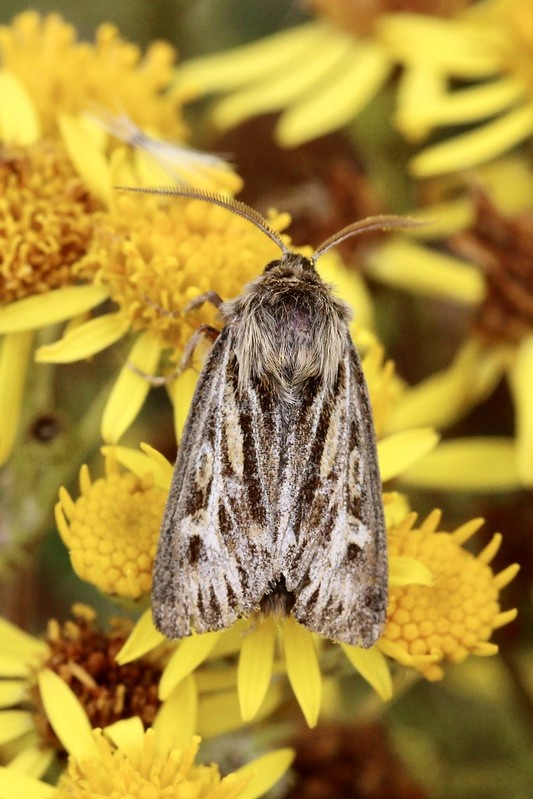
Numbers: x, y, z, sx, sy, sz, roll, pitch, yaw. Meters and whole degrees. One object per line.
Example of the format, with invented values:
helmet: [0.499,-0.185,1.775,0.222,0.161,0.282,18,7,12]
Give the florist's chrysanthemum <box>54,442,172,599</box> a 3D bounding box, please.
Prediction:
florist's chrysanthemum: [-0.288,0.219,1.511,0.187,0.073,0.260,7,74,6]
